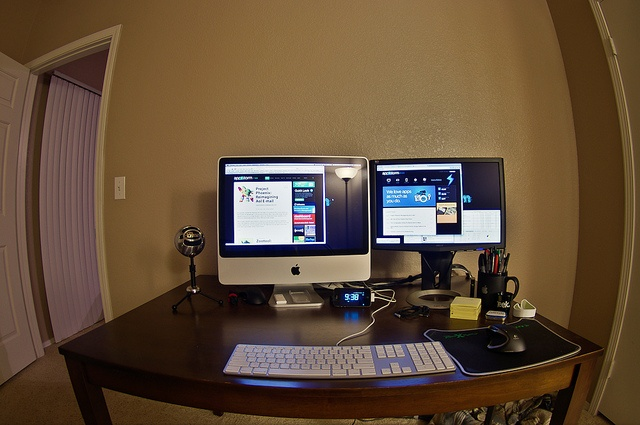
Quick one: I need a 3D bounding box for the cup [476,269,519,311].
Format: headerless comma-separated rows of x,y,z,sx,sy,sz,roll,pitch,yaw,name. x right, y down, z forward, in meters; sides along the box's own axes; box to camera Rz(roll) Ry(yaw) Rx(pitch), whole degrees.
1.041,0.463,2.709,0.143,0.215,0.230,19,-17,-37,cup

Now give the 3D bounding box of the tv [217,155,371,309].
-0.151,0.087,2.855,0.944,0.873,0.306,-1,2,-11,tv
